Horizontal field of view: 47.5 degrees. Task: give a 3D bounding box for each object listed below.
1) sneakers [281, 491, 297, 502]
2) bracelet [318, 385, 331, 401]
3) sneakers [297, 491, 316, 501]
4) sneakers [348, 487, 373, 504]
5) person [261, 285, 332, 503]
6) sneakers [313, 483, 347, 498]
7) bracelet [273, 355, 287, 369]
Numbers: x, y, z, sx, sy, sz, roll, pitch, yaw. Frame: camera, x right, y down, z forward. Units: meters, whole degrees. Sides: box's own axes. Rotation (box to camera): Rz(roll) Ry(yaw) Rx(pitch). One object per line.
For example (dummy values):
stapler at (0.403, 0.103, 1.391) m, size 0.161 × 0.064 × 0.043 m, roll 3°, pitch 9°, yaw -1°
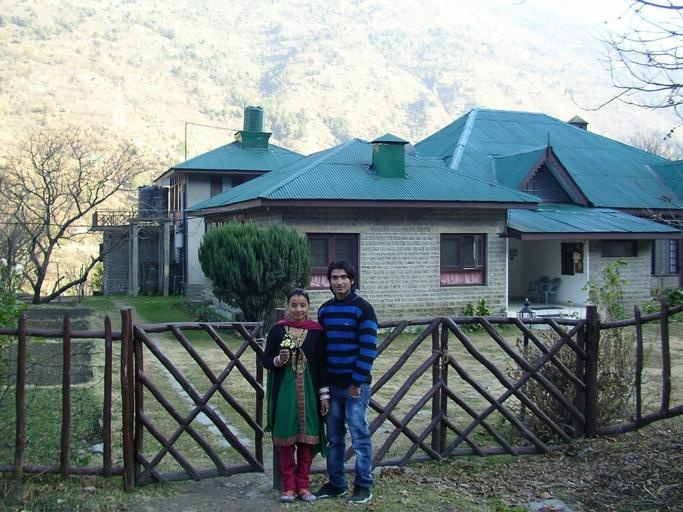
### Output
sneakers at (-0.685, 3.127, 10.121) m, size 0.219 × 0.143 × 0.087 m, roll -2°, pitch -2°, yaw -5°
bracelet at (-0.239, 1.784, 10.128) m, size 0.119 × 0.171 × 0.065 m, roll -1°, pitch -17°, yaw 1°
sneakers at (-0.442, 3.135, 10.130) m, size 0.173 × 0.068 × 0.111 m, roll 15°, pitch 45°, yaw 38°
sneakers at (0.278, 3.130, 10.169) m, size 0.357 × 0.186 × 0.147 m, roll -1°, pitch -2°, yaw -28°
person at (-0.591, 1.819, 10.212) m, size 0.845 × 2.765 × 0.364 m, roll -2°, pitch -2°, yaw -8°
sneakers at (-0.160, 3.080, 10.275) m, size 0.446 × 0.205 × 0.171 m, roll 3°, pitch -5°, yaw -4°
bracelet at (-0.799, 1.366, 10.056) m, size 0.160 × 0.070 × 0.185 m, roll 0°, pitch 2°, yaw 0°
